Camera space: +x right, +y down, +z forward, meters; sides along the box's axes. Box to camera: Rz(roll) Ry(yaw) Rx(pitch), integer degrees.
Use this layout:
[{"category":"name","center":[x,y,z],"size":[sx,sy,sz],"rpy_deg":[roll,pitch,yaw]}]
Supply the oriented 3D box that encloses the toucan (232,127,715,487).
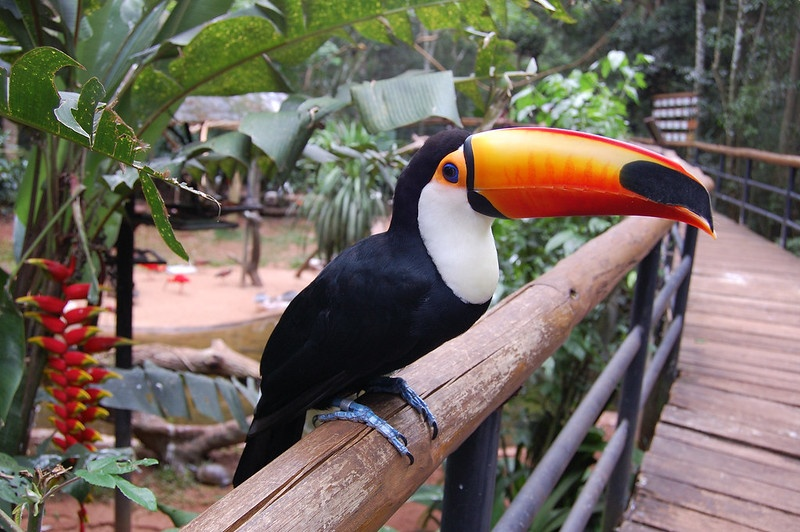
[{"category":"toucan","center":[0.128,0.142,2.047],"size":[0.849,1.270,1.155],"rpy_deg":[4,12,-18]}]

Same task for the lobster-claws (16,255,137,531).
[{"category":"lobster-claws","center":[-1.274,0.543,2.551],"size":[0.374,1.261,0.475],"rpy_deg":[-6,17,-26]}]
